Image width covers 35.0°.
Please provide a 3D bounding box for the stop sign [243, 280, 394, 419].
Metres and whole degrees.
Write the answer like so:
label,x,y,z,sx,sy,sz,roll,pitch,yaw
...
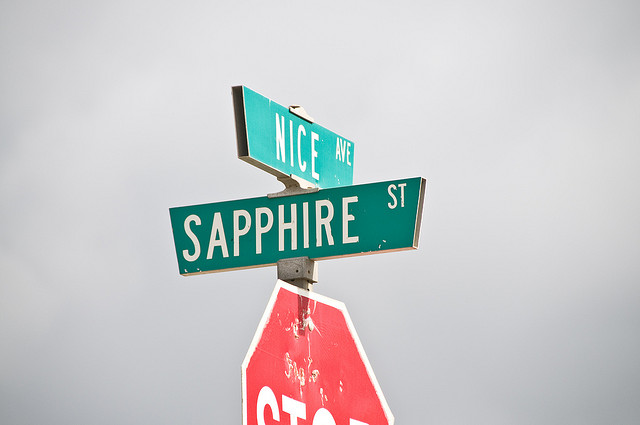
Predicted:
label,x,y,z,sx,sy,sz,roll,pitch,yaw
stop sign,-0.063,0.720,4.742,0.782,0.046,0.972,6,-109,-40
